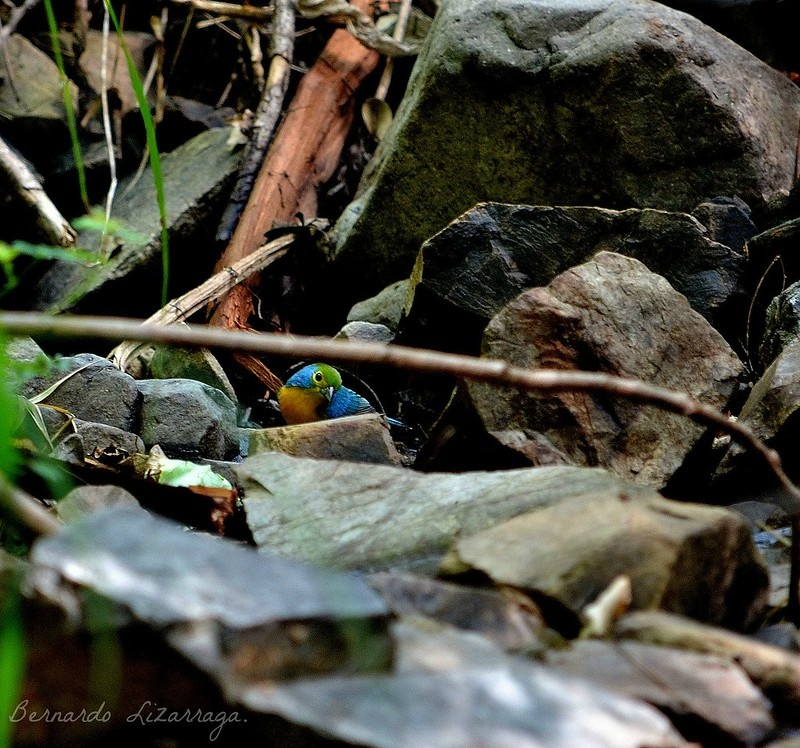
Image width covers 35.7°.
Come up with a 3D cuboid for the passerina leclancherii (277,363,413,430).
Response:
[{"bbox_3d":[-0.262,0.091,5.128,0.412,0.300,0.246,-13,15,1],"label":"passerina leclancherii"}]
